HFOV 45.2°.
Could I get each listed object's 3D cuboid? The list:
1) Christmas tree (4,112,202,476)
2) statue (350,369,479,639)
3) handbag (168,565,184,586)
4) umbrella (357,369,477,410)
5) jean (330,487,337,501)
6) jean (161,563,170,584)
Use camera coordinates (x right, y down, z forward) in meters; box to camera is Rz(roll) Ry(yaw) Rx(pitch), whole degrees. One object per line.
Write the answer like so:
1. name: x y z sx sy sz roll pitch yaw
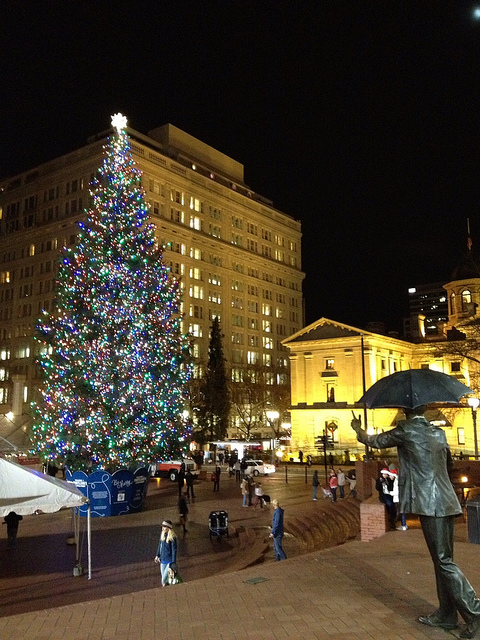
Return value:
1. Christmas tree: -5.452 -1.900 25.084 5.911 16.604 2.667 3 -11 -20
2. statue: 1.952 1.839 6.133 1.104 2.692 1.028 -4 -11 12
3. handbag: -1.101 4.274 9.616 0.197 0.250 0.593 0 -10 -6
4. umbrella: 1.969 0.795 6.506 0.749 0.256 0.731 -4 -9 0
5. jean: 4.135 7.717 25.559 0.176 0.546 0.378 -4 -11 14
6. jean: -1.260 4.321 9.786 0.119 0.306 0.380 0 -10 -7
